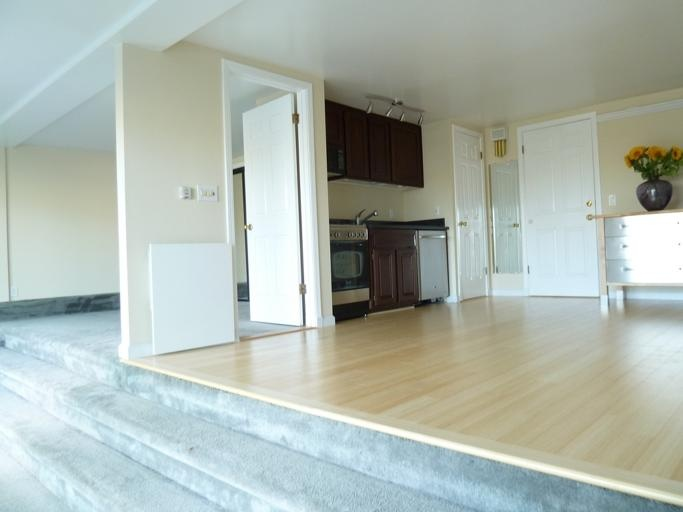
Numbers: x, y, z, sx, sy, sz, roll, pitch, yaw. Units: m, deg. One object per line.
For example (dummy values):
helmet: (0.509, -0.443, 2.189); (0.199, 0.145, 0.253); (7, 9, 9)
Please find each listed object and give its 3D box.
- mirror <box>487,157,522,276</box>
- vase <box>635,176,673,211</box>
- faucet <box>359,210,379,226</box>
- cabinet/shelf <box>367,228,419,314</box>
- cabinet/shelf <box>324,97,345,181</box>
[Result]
mirror: (2.475, -0.471, 7.039); (0.479, 2.016, 0.245); (-2, 2, -18)
vase: (3.689, -0.712, 5.459); (0.387, 0.407, 0.387); (-2, 1, -36)
faucet: (0.405, -0.518, 6.260); (0.307, 0.128, 0.178); (-13, -5, 27)
cabinet/shelf: (0.837, 0.148, 5.816); (0.496, 0.988, 0.786); (0, -6, -42)
cabinet/shelf: (-0.065, -1.381, 5.405); (0.081, 0.876, 0.322); (-3, 1, 31)
